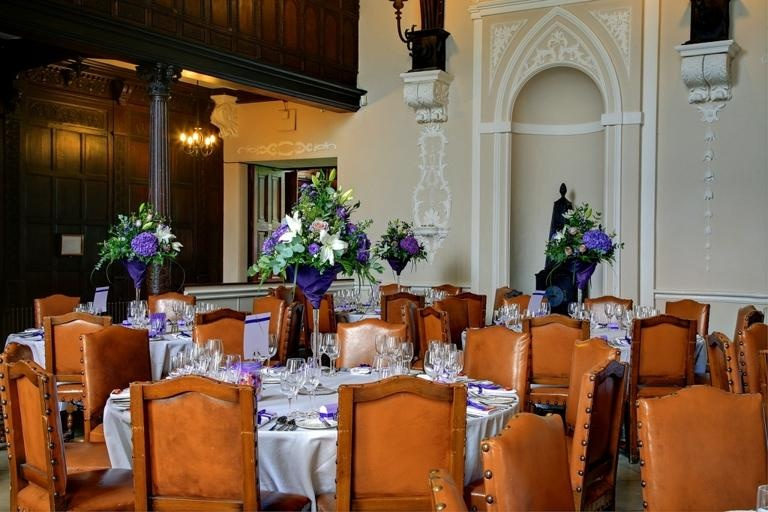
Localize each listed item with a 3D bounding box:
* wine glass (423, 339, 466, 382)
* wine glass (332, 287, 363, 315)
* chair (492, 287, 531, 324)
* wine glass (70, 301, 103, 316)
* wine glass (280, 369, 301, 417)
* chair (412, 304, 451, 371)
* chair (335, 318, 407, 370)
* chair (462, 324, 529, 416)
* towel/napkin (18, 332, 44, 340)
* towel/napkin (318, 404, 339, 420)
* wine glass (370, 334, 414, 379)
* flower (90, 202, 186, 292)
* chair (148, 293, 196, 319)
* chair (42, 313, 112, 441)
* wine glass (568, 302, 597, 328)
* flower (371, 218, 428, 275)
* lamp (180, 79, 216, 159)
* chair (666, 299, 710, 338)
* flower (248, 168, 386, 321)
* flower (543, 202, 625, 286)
[{"bbox_3d":[0.413,0.715,4.668,0.222,0.287,0.251,1,-6,-4],"label":"wine glass"},{"bbox_3d":[-0.468,0.579,8.738,0.252,0.270,0.321,0,0,-13],"label":"wine glass"},{"bbox_3d":[1.487,0.522,8.047,0.439,0.711,0.529,0,-8,8],"label":"chair"},{"bbox_3d":[-3.114,0.544,7.088,0.147,0.129,0.161,2,4,16],"label":"wine glass"},{"bbox_3d":[-0.598,0.859,4.367,0.130,0.338,0.129,7,8,4],"label":"wine glass"},{"bbox_3d":[0.368,0.904,6.714,0.423,0.767,0.449,3,-8,-23],"label":"chair"},{"bbox_3d":[-0.098,0.736,5.717,0.367,0.618,0.477,0,-8,8],"label":"chair"},{"bbox_3d":[1.020,0.868,5.350,0.472,0.786,0.602,-3,-9,26],"label":"chair"},{"bbox_3d":[-3.470,0.779,6.693,0.166,0.066,0.140,1,-5,10],"label":"towel/napkin"},{"bbox_3d":[-0.343,0.961,4.228,0.067,0.100,0.100,-7,-10,26],"label":"towel/napkin"},{"bbox_3d":[0.056,0.702,4.750,0.237,0.301,0.258,0,-7,0],"label":"wine glass"},{"bbox_3d":[-2.871,-0.037,7.981,0.844,0.972,0.887,4,15,9],"label":"flower"},{"bbox_3d":[-2.343,0.517,7.408,0.352,0.296,0.384,0,2,17],"label":"chair"},{"bbox_3d":[-2.723,1.072,6.152,0.747,1.144,0.729,5,-2,-42],"label":"chair"},{"bbox_3d":[1.980,0.591,6.819,0.200,0.337,0.178,-8,5,-35],"label":"wine glass"},{"bbox_3d":[0.262,-0.132,9.613,0.734,0.954,0.822,1,1,12],"label":"flower"},{"bbox_3d":[-3.221,-2.283,11.730,0.536,1.162,1.100,0,1,0],"label":"lamp"},{"bbox_3d":[3.097,0.634,6.934,0.290,0.469,0.352,-7,-12,43],"label":"chair"},{"bbox_3d":[-0.406,-0.126,4.923,0.916,1.052,0.916,-12,20,-36],"label":"flower"},{"bbox_3d":[2.196,0.071,7.518,0.755,0.934,0.837,-4,-8,-14],"label":"flower"}]
